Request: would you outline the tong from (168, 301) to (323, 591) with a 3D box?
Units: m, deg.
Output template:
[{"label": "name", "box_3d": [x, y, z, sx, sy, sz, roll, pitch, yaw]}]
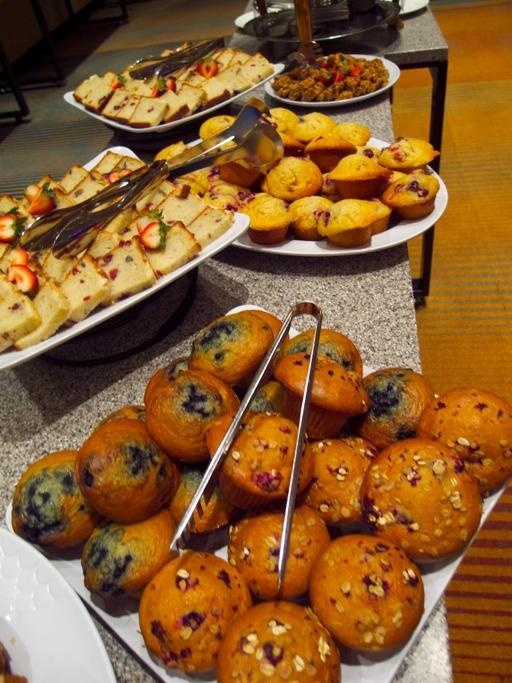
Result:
[{"label": "tong", "box_3d": [0.000, 0.055, 0.373, 0.075, 0.025, 0.205, 24, 62, -2]}]

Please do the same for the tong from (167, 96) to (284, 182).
[{"label": "tong", "box_3d": [-0.043, -0.274, 0.802, 0.191, 0.084, 0.103, -10, 18, 15]}]

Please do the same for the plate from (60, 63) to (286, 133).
[{"label": "plate", "box_3d": [-0.243, -0.484, 1.199, 0.283, 0.047, 0.324, -36, 41, -15]}]
